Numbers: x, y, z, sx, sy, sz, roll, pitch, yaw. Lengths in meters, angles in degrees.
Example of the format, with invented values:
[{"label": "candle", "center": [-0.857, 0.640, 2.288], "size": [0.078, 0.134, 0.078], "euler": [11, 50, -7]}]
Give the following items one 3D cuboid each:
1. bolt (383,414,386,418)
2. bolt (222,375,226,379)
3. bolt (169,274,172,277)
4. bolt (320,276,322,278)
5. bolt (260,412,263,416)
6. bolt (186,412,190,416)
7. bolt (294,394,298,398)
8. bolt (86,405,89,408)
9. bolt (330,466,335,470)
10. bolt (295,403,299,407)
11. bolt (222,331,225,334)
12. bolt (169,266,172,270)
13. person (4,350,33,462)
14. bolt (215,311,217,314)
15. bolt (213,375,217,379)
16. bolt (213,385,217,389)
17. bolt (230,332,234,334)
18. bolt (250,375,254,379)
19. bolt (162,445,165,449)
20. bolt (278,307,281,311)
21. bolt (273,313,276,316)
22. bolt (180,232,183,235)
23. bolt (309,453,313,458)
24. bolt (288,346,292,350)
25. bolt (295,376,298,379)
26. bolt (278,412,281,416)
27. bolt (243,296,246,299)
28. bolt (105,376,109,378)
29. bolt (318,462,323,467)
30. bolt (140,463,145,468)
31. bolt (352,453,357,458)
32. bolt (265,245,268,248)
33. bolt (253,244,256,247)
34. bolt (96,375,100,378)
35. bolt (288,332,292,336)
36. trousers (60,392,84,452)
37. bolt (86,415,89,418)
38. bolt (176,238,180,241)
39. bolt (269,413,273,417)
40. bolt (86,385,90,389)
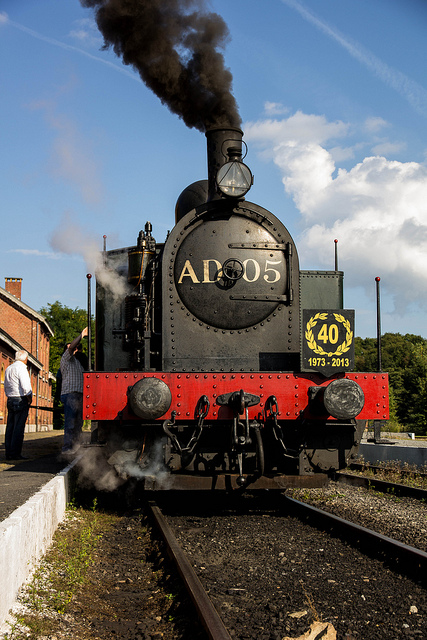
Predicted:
[{"label": "bolt", "center": [1.735, 0.970, 5.665], "size": [0.026, 0.027, 0.030], "euler": [28, -42, -14]}, {"label": "bolt", "center": [0.105, 0.544, 5.387], "size": [0.028, 0.030, 0.007], "euler": [0, -2, -11]}, {"label": "bolt", "center": [-0.456, -0.489, 6.007], "size": [0.025, 0.027, 0.026], "euler": [-9, 5, -3]}, {"label": "bolt", "center": [1.314, -0.537, 6.838], "size": [0.021, 0.023, 0.005], "euler": [6, -5, -7]}, {"label": "bolt", "center": [0.468, 0.902, 5.405], "size": [0.022, 0.043, 0.023], "euler": [-1, -8, -8]}, {"label": "bolt", "center": [-0.236, 0.892, 5.322], "size": [0.030, 0.030, 0.005], "euler": [2, -8, -3]}, {"label": "bolt", "center": [0.819, 0.742, 5.513], "size": [0.034, 0.037, 0.010], "euler": [1, -6, -18]}, {"label": "bolt", "center": [-1.188, 0.820, 5.318], "size": [0.032, 0.035, 0.023], "euler": [4, -3, -2]}, {"label": "bolt", "center": [1.220, 1.511, 5.725], "size": [0.037, 0.040, 0.012], "euler": [-1, -8, -2]}, {"label": "bolt", "center": [0.827, 0.834, 5.509], "size": [0.040, 0.037, 0.004], "euler": [3, -8, -12]}, {"label": "bolt", "center": [0.116, 0.131, 6.077], "size": [0.022, 0.027, 0.007], "euler": [3, -8, -11]}, {"label": "bolt", "center": [-0.451, -0.568, 6.007], "size": [0.028, 0.035, 0.028], "euler": [-15, 14, -34]}, {"label": "person", "center": [-3.243, 1.400, 9.349], "size": [0.474, 1.834, 0.824], "euler": [4, -8, -17]}, {"label": "bolt", "center": [0.030, -0.090, 6.043], "size": [0.020, 0.022, 0.025], "euler": [-2, -1, -14]}, {"label": "bolt", "center": [0.023, 0.544, 5.387], "size": [0.036, 0.036, 0.008], "euler": [2, -8, -6]}, {"label": "bolt", "center": [0.022, 0.637, 5.380], "size": [0.036, 0.030, 0.007], "euler": [1, -8, 0]}, {"label": "bolt", "center": [0.206, 0.132, 6.097], "size": [0.022, 0.023, 0.005], "euler": [7, -5, -16]}, {"label": "bolt", "center": [0.380, 0.547, 5.426], "size": [0.034, 0.036, 0.008], "euler": [1, -2, -27]}, {"label": "bolt", "center": [-0.477, 1.232, 5.431], "size": [0.041, 0.044, 0.018], "euler": [5, -10, -8]}, {"label": "bolt", "center": [0.743, -0.132, 6.251], "size": [0.036, 0.038, 0.011], "euler": [-8, 5, -34]}, {"label": "bolt", "center": [0.685, -0.066, 6.228], "size": [0.036, 0.039, 0.011], "euler": [1, 0, -28]}, {"label": "bolt", "center": [-0.339, -0.943, 6.043], "size": [0.032, 0.034, 0.007], "euler": [4, -2, -25]}, {"label": "bolt", "center": [0.996, 1.374, 5.702], "size": [0.033, 0.047, 0.014], "euler": [0, -2, 0]}, {"label": "bolt", "center": [0.860, 0.308, 6.267], "size": [0.028, 0.031, 0.040], "euler": [0, 0, 4]}, {"label": "bolt", "center": [0.827, 0.563, 5.536], "size": [0.022, 0.030, 0.010], "euler": [22, -6, -18]}, {"label": "bolt", "center": [0.644, 0.908, 5.420], "size": [0.033, 0.030, 0.003], "euler": [7, -10, -36]}, {"label": "bolt", "center": [0.340, -0.255, 6.097], "size": [0.014, 0.025, 0.027], "euler": [-2, -9, -3]}, {"label": "bolt", "center": [-1.010, 0.540, 5.355], "size": [0.021, 0.021, 0.022], "euler": [1, -4, 1]}, {"label": "bolt", "center": [1.093, 1.471, 5.698], "size": [0.049, 0.045, 0.009], "euler": [3, -8, -12]}, {"label": "bolt", "center": [-0.678, 1.399, 5.395], "size": [0.044, 0.040, 0.015], "euler": [2, -8, -1]}, {"label": "bolt", "center": [1.462, 1.407, 5.811], "size": [0.030, 0.043, 0.011], "euler": [-1, 0, -15]}, {"label": "bolt", "center": [0.596, -0.829, 6.233], "size": [0.032, 0.031, 0.010], "euler": [6, -9, -29]}, {"label": "bolt", "center": [0.458, -0.830, 6.190], "size": [0.022, 0.030, 0.009], "euler": [-2, -4, 4]}, {"label": "bolt", "center": [-1.092, 0.532, 5.349], "size": [0.023, 0.026, 0.029], "euler": [0, -2, -10]}, {"label": "bolt", "center": [0.861, 0.147, 6.274], "size": [0.038, 0.041, 0.009], "euler": [0, -3, -21]}, {"label": "trousers", "center": [-2.295, 1.647, 9.059], "size": [0.373, 0.952, 0.984], "euler": [3, -8, -14]}, {"label": "bolt", "center": [-1.179, 0.906, 5.284], "size": [0.023, 0.023, 0.018], "euler": [4, -8, -17]}, {"label": "bolt", "center": [-0.376, -0.873, 6.025], "size": [0.034, 0.034, 0.013], "euler": [1, -3, -15]}, {"label": "bolt", "center": [0.558, 0.913, 5.389], "size": [0.014, 0.046, 0.038], "euler": [3, -7, -30]}, {"label": "bolt", "center": [-1.188, 0.632, 5.342], "size": [0.026, 0.020, 0.034], "euler": [-2, -3, -6]}]
